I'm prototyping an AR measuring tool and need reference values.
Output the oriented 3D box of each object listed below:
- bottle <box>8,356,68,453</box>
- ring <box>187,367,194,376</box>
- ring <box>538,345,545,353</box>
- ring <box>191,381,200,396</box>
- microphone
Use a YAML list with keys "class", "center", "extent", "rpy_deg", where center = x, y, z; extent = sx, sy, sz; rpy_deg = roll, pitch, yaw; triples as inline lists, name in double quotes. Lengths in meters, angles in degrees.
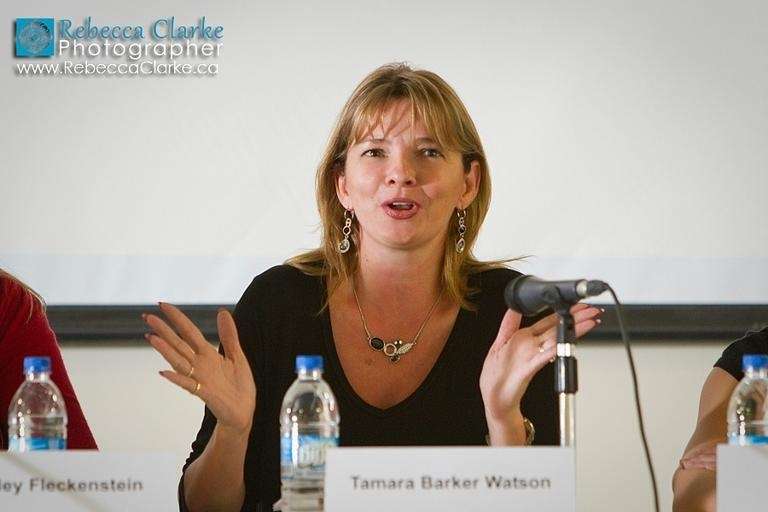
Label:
- class: "bottle"
  center: [-1.082, 0.462, 2.914]
  extent: [0.187, 0.321, 0.556]
  rpy_deg: [-1, 0, -18]
- class: "ring"
  center: [-0.556, 0.334, 2.713]
  extent: [0.005, 0.020, 0.020]
  rpy_deg: [21, 13, 3]
- class: "ring"
  center: [0.481, 0.288, 2.868]
  extent: [0.017, 0.013, 0.013]
  rpy_deg: [-2, -2, 32]
- class: "ring"
  center: [-0.543, 0.381, 2.707]
  extent: [0.006, 0.027, 0.026]
  rpy_deg: [11, 18, 3]
- class: "microphone"
  center: [0.474, 0.106, 2.700]
  extent: [0.110, 0.111, 0.320]
  rpy_deg: [23, -14, -31]
